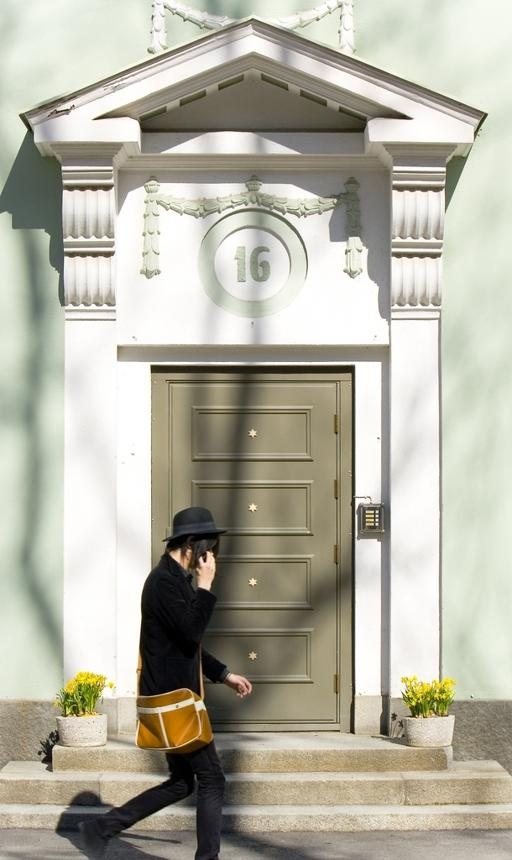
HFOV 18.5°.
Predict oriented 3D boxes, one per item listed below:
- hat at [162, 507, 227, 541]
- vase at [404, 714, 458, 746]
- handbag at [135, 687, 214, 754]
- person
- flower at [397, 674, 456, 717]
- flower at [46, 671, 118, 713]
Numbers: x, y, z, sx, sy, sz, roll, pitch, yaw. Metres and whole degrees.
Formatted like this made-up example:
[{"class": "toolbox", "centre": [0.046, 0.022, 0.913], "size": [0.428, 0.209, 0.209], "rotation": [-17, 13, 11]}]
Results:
[{"class": "hat", "centre": [-0.319, 0.477, 7.660], "size": [0.202, 0.095, 0.193], "rotation": [-15, -6, 10]}, {"class": "vase", "centre": [1.024, 1.804, 9.251], "size": [0.211, 0.150, 0.179], "rotation": [-1, -26, 4]}, {"class": "handbag", "centre": [-0.410, 1.398, 7.583], "size": [0.347, 0.282, 0.223], "rotation": [-8, 4, 8]}, {"class": "person", "centre": [-0.412, 1.263, 7.695], "size": [0.737, 1.754, 0.494], "rotation": [3, 3, 4]}, {"class": "flower", "centre": [1.028, 1.610, 9.366], "size": [0.222, 0.228, 0.301], "rotation": [0, -9, -3]}, {"class": "flower", "centre": [-1.045, 1.587, 9.409], "size": [0.247, 0.255, 0.259], "rotation": [0, -13, -9]}]
